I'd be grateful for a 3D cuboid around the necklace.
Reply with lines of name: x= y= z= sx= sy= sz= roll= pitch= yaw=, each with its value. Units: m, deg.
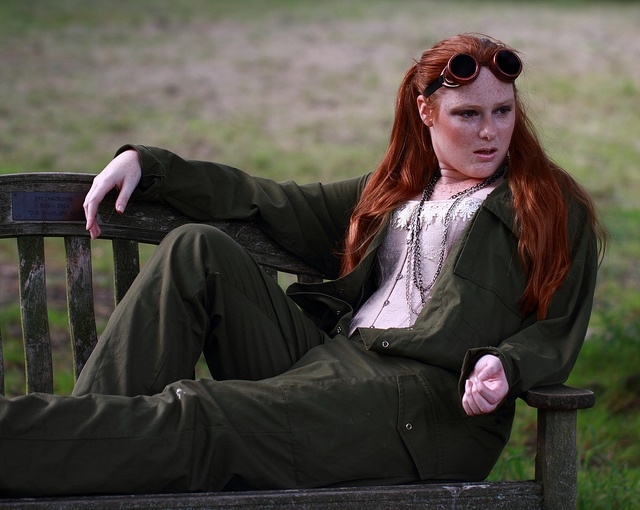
necklace: x=0.543 y=-0.103 z=5.259 sx=0.277 sy=0.836 sz=0.041 roll=12 pitch=-18 yaw=23
